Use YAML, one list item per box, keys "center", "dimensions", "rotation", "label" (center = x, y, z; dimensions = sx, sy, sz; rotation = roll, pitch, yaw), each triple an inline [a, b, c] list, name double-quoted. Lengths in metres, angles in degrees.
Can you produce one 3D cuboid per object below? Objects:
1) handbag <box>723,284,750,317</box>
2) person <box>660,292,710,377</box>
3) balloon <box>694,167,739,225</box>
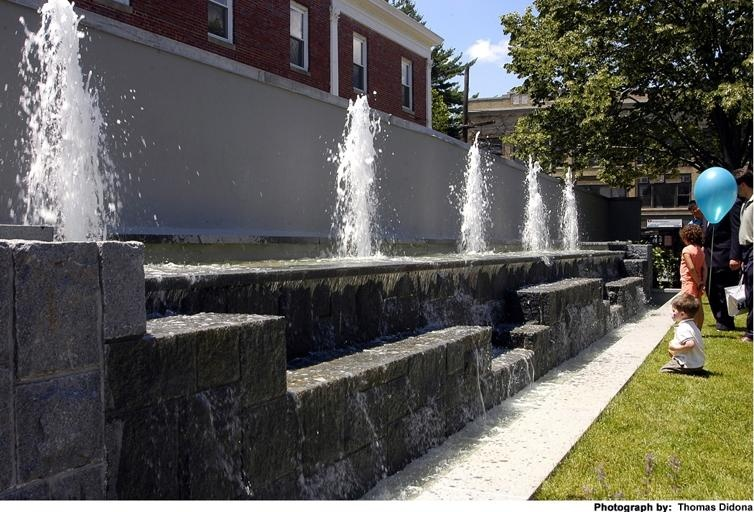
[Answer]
- center: [5.132, 0.615, 8.677]
  dimensions: [0.308, 0.712, 0.523]
  rotation: [-2, 5, 38]
  label: "handbag"
- center: [3.863, 0.981, 7.611]
  dimensions: [0.469, 0.987, 0.426]
  rotation: [6, 7, 42]
  label: "person"
- center: [5.050, -0.899, 9.069]
  dimensions: [0.585, 0.835, 0.472]
  rotation: [-2, 6, -29]
  label: "balloon"
